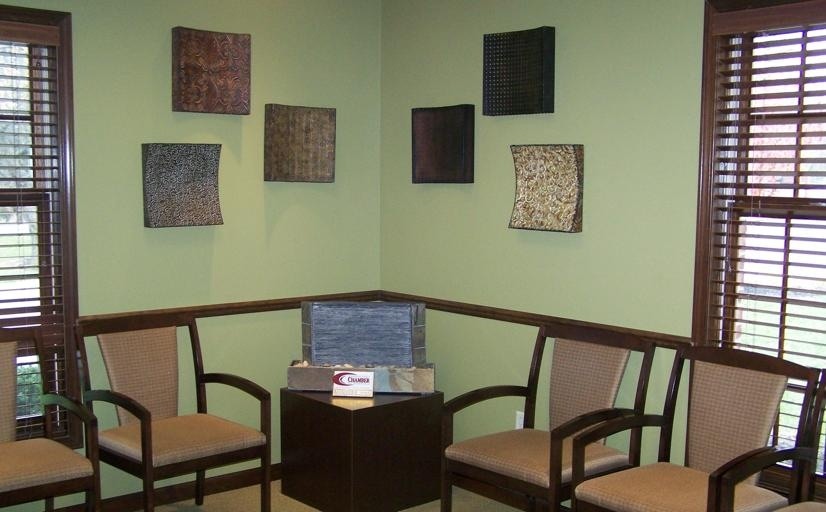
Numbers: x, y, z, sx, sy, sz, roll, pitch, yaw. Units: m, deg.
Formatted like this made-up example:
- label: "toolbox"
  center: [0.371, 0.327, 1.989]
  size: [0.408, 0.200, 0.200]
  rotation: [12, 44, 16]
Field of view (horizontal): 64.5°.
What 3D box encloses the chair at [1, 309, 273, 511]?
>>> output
- label: "chair"
  center: [-1.555, 1.050, 4.286]
  size: [0.981, 1.258, 0.874]
  rotation: [8, 12, 43]
